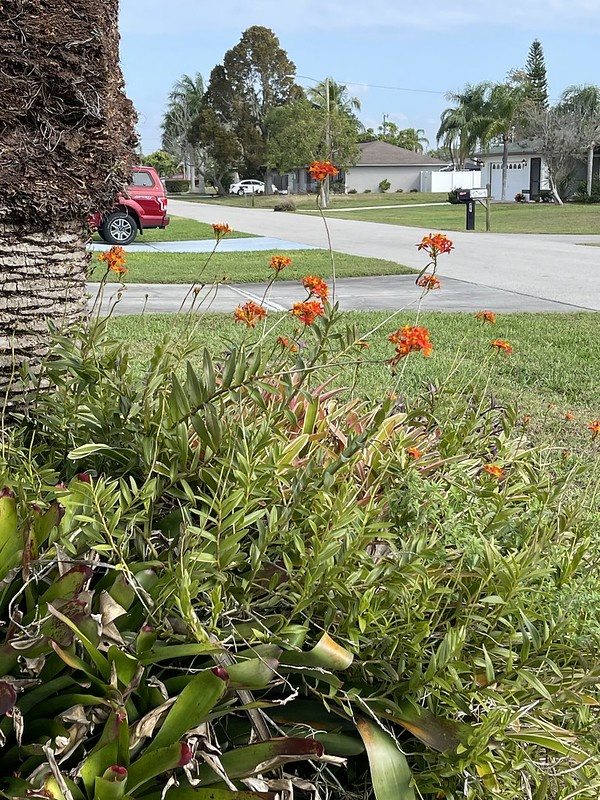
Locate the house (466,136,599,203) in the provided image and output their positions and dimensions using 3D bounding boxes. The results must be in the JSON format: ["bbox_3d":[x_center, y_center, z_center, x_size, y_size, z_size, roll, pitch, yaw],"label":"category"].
[{"bbox_3d":[19.914,-19.795,55.604,2.956,6.019,16.423,-1,13,-15],"label":"house"}]
